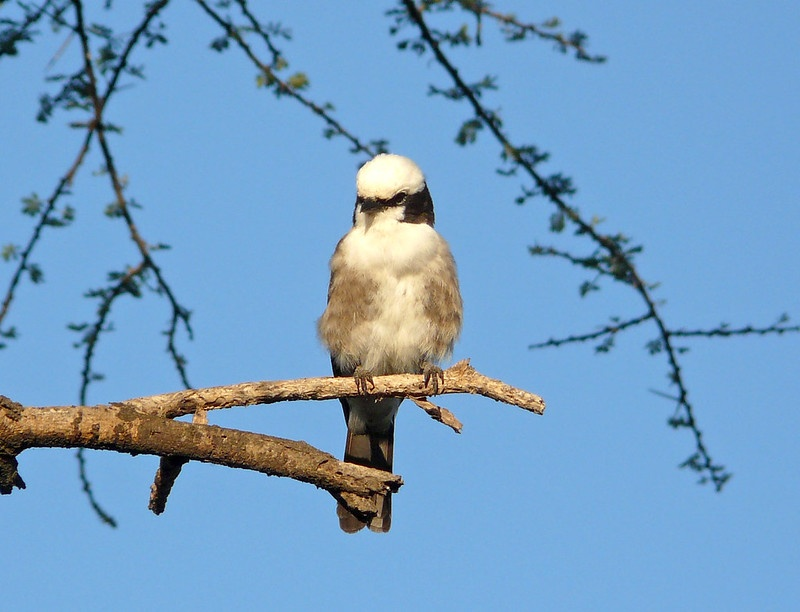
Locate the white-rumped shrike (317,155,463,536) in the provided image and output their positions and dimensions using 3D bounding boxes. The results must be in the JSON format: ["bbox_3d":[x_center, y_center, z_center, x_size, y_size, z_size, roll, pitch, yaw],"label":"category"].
[{"bbox_3d":[-0.058,0.105,12.047,0.818,1.502,2.594,3,-67,-5],"label":"white-rumped shrike"}]
